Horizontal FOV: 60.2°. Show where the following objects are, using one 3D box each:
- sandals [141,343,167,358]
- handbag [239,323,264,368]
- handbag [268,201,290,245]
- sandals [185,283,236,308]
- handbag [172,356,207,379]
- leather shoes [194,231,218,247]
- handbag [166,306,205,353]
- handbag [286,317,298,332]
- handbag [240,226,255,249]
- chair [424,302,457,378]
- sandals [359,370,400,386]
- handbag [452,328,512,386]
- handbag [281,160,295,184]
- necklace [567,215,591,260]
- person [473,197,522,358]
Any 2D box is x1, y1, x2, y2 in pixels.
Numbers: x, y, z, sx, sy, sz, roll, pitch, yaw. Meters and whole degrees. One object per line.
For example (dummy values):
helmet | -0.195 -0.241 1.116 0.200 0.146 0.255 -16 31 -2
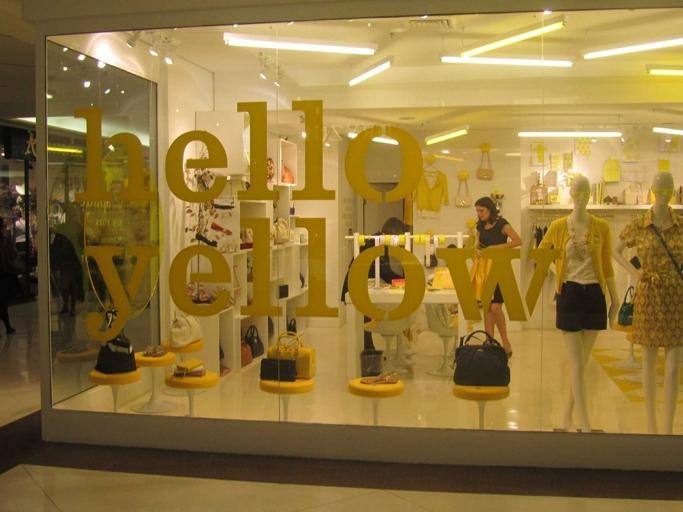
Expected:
sandals | -1.510 0.759 4.736 0.104 0.056 0.155 1 4 -7
handbag | -0.696 0.684 4.563 0.297 0.301 0.161 -4 -3 -4
handbag | -0.475 -0.256 4.521 0.144 0.313 0.083 -2 13 -5
sandals | -1.058 0.308 4.601 0.222 0.055 0.218 -14 30 -35
handbag | -1.206 0.892 4.624 0.167 0.066 0.190 0 7 -3
leather shoes | -1.058 -0.135 4.597 0.143 0.047 0.063 23 8 9
handbag | -1.233 0.570 4.665 0.325 0.344 0.190 2 6 10
handbag | -0.388 0.530 4.539 0.065 0.101 0.034 4 1 6
handbag | -0.732 -0.130 4.626 0.134 0.159 0.133 1 4 -7
chair | 0.748 0.642 4.443 0.234 0.525 0.130 1 13 7
sandals | 0.289 0.929 4.550 0.303 0.127 0.097 5 -1 2
handbag | 1.069 0.775 4.425 0.390 0.380 0.173 -1 3 6
handbag | -0.411 -0.631 4.504 0.109 0.147 0.045 0 13 2
necklace | 1.759 -0.137 4.383 0.167 0.317 0.075 0 7 7
person | 1.146 0.153 4.416 0.342 1.153 0.201 3 14 16
